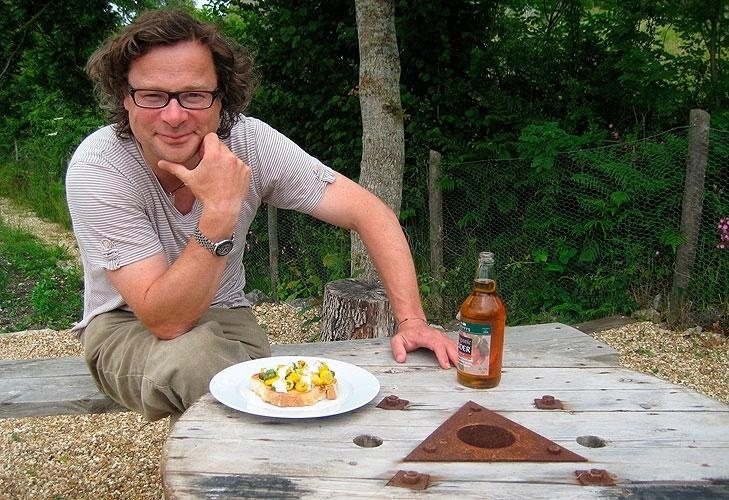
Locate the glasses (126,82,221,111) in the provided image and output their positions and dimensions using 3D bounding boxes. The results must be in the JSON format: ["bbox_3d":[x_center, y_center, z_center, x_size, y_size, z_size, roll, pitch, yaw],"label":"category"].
[{"bbox_3d":[-0.977,-0.762,3.390,0.412,0.108,0.092,-1,7,-17],"label":"glasses"}]

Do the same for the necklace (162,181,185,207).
[{"bbox_3d":[-1.018,-0.297,3.563,0.121,0.117,0.030,3,-9,-20],"label":"necklace"}]
